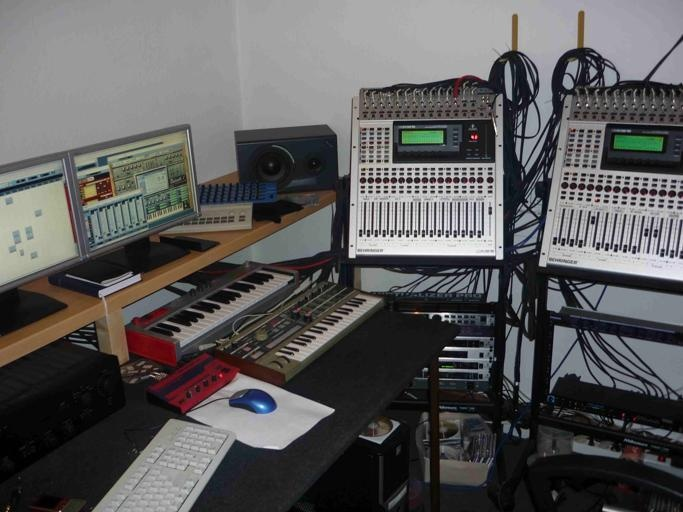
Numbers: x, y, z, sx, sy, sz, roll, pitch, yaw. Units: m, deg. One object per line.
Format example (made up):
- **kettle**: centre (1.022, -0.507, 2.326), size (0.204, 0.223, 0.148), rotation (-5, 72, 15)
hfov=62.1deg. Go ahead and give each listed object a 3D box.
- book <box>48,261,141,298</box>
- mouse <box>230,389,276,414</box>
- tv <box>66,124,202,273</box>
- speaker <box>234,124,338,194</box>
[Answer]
- **book**: centre (-0.963, 0.083, 2.194), size (0.203, 0.046, 0.173), rotation (14, 25, 22)
- **mouse**: centre (-0.302, 0.502, 1.951), size (0.136, 0.045, 0.082), rotation (8, 18, 12)
- **tv**: centre (-0.842, -0.209, 2.300), size (0.071, 0.428, 0.607), rotation (13, 27, 35)
- **speaker**: centre (-0.269, -0.502, 2.979), size (0.600, 0.366, 0.332), rotation (-2, 38, -7)
